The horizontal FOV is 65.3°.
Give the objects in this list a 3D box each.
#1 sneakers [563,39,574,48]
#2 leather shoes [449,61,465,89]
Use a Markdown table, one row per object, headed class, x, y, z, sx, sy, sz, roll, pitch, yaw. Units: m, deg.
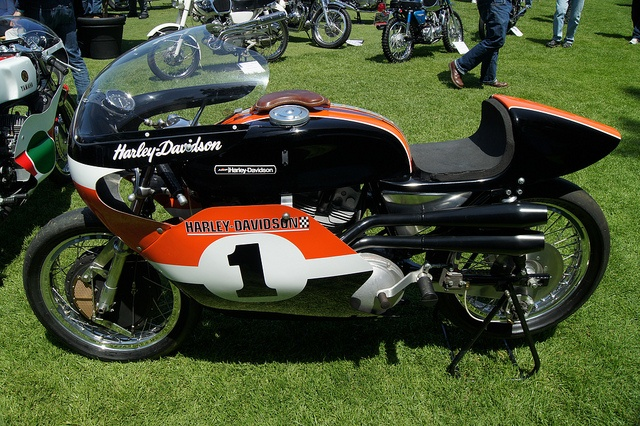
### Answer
| class | x | y | z | sx | sy | sz | roll | pitch | yaw |
| --- | --- | --- | --- | --- | --- | --- | --- | --- | --- |
| sneakers | 5.046 | -3.425 | 10.113 | 0.106 | 0.083 | 0.233 | -4 | 8 | 1 |
| leather shoes | 2.115 | -2.140 | 7.855 | 0.179 | 0.478 | 0.198 | -20 | 12 | -36 |
